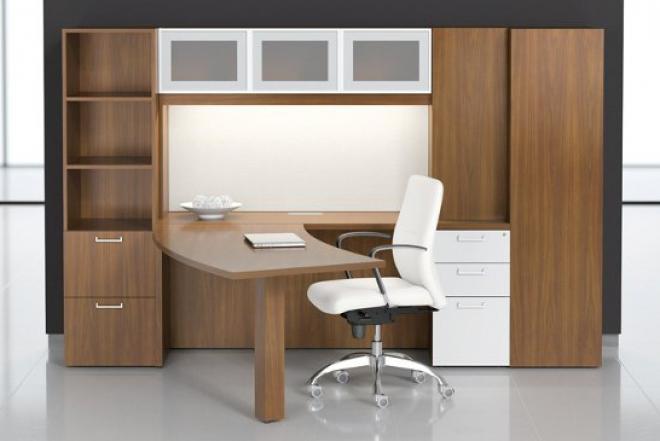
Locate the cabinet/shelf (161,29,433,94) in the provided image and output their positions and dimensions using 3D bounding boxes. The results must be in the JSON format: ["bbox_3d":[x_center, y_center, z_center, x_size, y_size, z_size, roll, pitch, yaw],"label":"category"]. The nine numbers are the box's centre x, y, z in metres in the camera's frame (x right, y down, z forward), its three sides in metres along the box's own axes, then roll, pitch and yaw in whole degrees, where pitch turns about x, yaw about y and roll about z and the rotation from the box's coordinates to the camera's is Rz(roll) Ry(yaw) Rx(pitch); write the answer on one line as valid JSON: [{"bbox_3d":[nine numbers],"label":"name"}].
[{"bbox_3d":[-0.306,-1.395,5.850,2.407,0.520,0.301,-1,4,-4],"label":"cabinet/shelf"}]

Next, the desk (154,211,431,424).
[{"bbox_3d":[-0.423,0.593,5.033,1.725,0.785,1.949,0,6,-10],"label":"desk"}]

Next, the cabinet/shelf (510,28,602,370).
[{"bbox_3d":[1.943,-0.225,5.606,0.761,2.790,0.292,0,6,10],"label":"cabinet/shelf"}]

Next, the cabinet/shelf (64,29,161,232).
[{"bbox_3d":[-2.181,-0.827,6.145,0.507,1.897,0.904,10,15,36],"label":"cabinet/shelf"}]
